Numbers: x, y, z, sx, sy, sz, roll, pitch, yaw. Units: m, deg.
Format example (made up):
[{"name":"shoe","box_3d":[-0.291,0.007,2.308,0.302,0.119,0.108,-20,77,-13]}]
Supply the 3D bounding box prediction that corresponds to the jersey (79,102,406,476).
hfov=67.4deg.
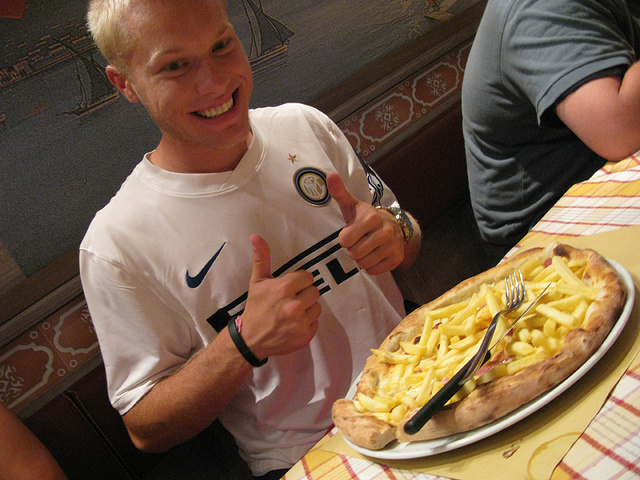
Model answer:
[{"name":"jersey","box_3d":[-0.229,0.160,1.323,0.857,0.828,0.410,-37,24,-26]}]

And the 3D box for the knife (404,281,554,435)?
[{"name":"knife","box_3d":[0.290,0.218,0.856,0.037,0.029,0.329,37,72,25]}]

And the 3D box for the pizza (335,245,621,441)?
[{"name":"pizza","box_3d":[0.307,0.140,0.878,0.470,0.081,0.321,-39,15,-10]}]

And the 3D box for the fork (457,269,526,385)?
[{"name":"fork","box_3d":[0.318,0.166,0.882,0.024,0.032,0.224,-20,34,54]}]
